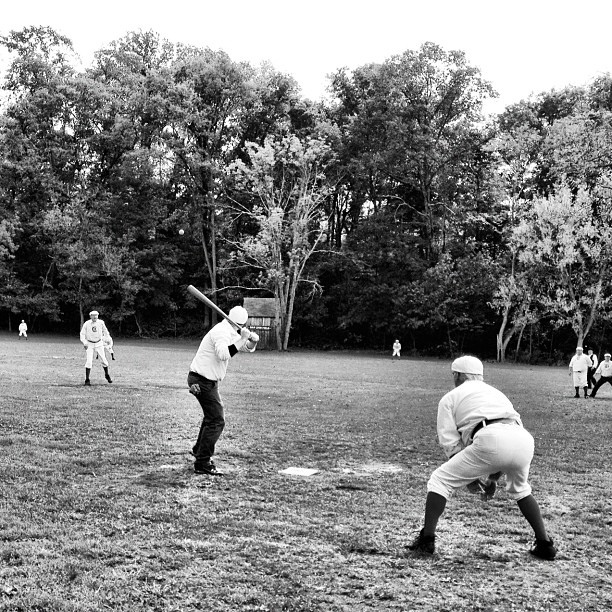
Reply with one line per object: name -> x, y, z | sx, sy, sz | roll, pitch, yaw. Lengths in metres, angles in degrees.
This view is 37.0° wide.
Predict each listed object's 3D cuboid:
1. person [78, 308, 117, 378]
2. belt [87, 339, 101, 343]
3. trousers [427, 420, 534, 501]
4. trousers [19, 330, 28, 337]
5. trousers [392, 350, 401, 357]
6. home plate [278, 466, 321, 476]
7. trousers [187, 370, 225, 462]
person -> -5.263, 0.988, 22.891 | 0.690, 1.794, 0.523 | -5, 11, -27
belt -> -5.285, 0.866, 22.751 | 0.278, 0.076, 0.105 | 7, -2, -26
trousers -> 1.864, 1.600, 9.621 | 1.033, 0.802, 0.366 | 5, -1, 9
trousers -> -15.731, 1.512, 50.683 | 0.374, 0.388, 0.142 | 0, -13, -5
trousers -> 4.734, 2.416, 47.900 | 0.607, 0.246, 0.589 | 0, 22, 4
home plate -> -0.099, 2.303, 12.710 | 0.505, 0.113, 0.602 | 5, -3, 22
trousers -> -1.368, 1.530, 12.718 | 0.433, 1.250, 0.470 | 5, -1, -29
